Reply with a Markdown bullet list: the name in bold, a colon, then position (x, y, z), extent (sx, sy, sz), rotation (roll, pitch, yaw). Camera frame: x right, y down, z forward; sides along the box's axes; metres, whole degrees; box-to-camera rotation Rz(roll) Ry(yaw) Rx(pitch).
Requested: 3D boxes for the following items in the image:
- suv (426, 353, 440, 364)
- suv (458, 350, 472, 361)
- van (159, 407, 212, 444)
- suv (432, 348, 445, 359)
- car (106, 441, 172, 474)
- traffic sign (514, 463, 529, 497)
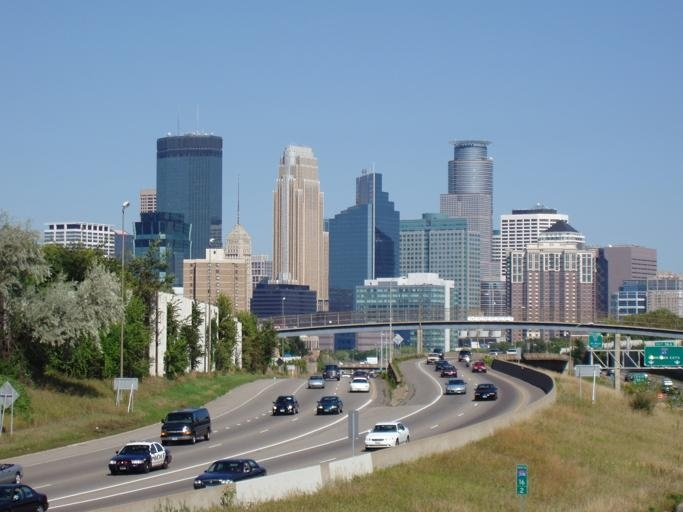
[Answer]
- **suv**: position (12.529, 13.625, 209.761), extent (1.061, 0.887, 2.601), rotation (2, 9, 4)
- **suv**: position (17.294, 13.790, 216.509), extent (1.462, 1.344, 2.900), rotation (1, -1, -1)
- **van**: position (-13.051, 14.239, 131.086), extent (1.860, 2.811, 4.420), rotation (0, -2, 42)
- **suv**: position (13.909, 13.623, 221.445), extent (1.216, 1.260, 2.335), rotation (-1, -15, 4)
- **car**: position (-15.654, 15.499, 120.185), extent (4.703, 2.361, 2.276), rotation (1, -1, -17)
- **traffic sign**: position (12.512, 15.304, 107.205), extent (0.607, 2.076, 0.631), rotation (0, -1, 16)
